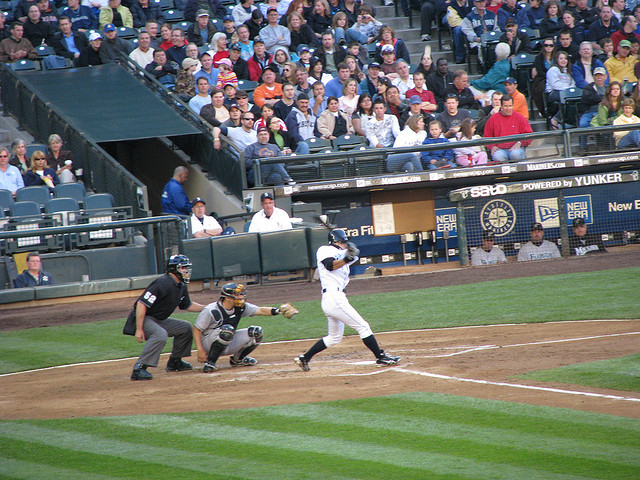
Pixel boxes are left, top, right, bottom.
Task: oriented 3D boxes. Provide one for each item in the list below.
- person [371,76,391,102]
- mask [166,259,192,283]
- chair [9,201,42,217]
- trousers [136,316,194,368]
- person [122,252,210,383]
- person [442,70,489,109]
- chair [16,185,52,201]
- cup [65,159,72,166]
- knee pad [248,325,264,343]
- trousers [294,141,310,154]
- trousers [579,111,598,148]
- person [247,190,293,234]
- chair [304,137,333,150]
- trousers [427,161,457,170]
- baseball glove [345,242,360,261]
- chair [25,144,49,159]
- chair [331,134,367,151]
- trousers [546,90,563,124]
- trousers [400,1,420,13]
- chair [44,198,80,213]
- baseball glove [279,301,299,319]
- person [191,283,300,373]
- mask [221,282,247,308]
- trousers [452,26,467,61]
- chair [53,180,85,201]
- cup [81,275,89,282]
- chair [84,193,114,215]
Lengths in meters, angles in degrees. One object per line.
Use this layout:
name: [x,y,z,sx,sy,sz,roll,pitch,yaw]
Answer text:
person: [1.346,-3.277,33.049,0.398,0.602,0.501,-6,-5,-3]
mask: [-2.328,0.564,25.034,0.419,0.272,0.290,-3,1,2]
chair: [-5.887,-0.600,30.262,0.392,0.369,0.390,-2,7,-25]
trousers: [-2.571,1.714,25.044,0.747,0.825,1.130,-2,0,31]
person: [-2.620,1.322,25.004,1.264,2.079,0.669,-4,-6,-17]
person: [3.166,-3.183,33.585,1.298,0.887,0.532,8,12,7]
chair: [-5.795,-0.916,30.669,0.434,0.405,0.428,0,-4,-40]
cup: [-5.278,-1.605,31.810,0.152,0.155,0.232,-5,-4,-9]
knee pad: [-1.068,1.586,24.969,0.237,0.266,0.256,-5,-5,-4]
trousers: [-0.384,-1.916,31.965,0.305,0.276,0.263,-5,-5,-1]
trousers: [5.804,-2.389,32.791,0.462,0.856,0.656,-7,-5,9]
person: [-1.070,-0.560,30.884,0.920,0.944,0.762,-5,-5,-7]
chair: [-0.035,-2.041,32.270,0.389,0.360,0.362,-3,7,-18]
trousers: [2.594,-1.563,32.064,0.622,0.148,0.176,-3,-5,-8]
baseball glove: [0.566,0.217,24.506,0.302,0.201,0.153,-37,-53,23]
chair: [-5.921,-1.884,31.733,0.400,0.370,0.349,3,-46,-10]
chair: [0.606,-2.062,32.350,0.498,0.424,0.426,-4,8,-17]
trousers: [5.226,-2.939,33.632,0.194,0.762,0.420,-5,-5,-14]
trousers: [2.231,-5.803,37.679,0.410,0.340,0.297,-2,31,-5]
chair: [-5.199,-0.687,30.606,0.488,0.351,0.403,1,-7,-39]
baseball glove: [-0.555,1.167,24.744,0.295,0.120,0.329,15,-1,-24]
person: [-1.131,1.452,25.163,2.164,1.135,1.175,-1,-2,-11]
mask: [-1.412,0.910,25.042,0.522,0.330,0.388,3,11,-7]
trousers: [3.312,-4.680,35.984,0.271,0.766,0.424,-7,-5,5]
chair: [-5.141,-0.990,31.167,0.509,0.453,0.470,-2,9,-22]
cup: [-4.705,0.787,30.390,0.148,0.121,0.086,-3,-5,-17]
chair: [-4.556,-0.707,31.123,0.582,0.477,0.516,0,-11,-36]
